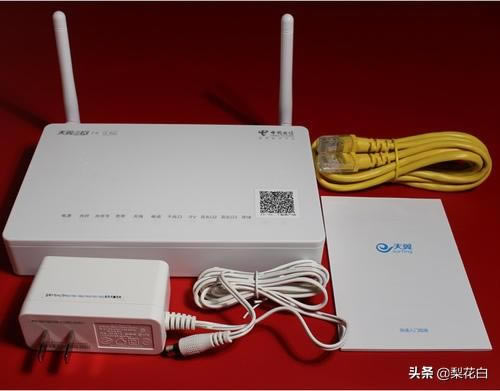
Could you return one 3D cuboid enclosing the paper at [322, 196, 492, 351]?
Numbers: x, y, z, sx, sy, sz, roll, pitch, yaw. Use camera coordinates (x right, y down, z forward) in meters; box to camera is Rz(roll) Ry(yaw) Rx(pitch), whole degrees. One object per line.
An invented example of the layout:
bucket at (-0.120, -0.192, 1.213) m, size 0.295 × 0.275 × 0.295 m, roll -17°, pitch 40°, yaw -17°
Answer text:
paper at (0.362, 0.170, 1.166) m, size 0.332 × 0.335 × 0.352 m, roll -4°, pitch 5°, yaw 5°
